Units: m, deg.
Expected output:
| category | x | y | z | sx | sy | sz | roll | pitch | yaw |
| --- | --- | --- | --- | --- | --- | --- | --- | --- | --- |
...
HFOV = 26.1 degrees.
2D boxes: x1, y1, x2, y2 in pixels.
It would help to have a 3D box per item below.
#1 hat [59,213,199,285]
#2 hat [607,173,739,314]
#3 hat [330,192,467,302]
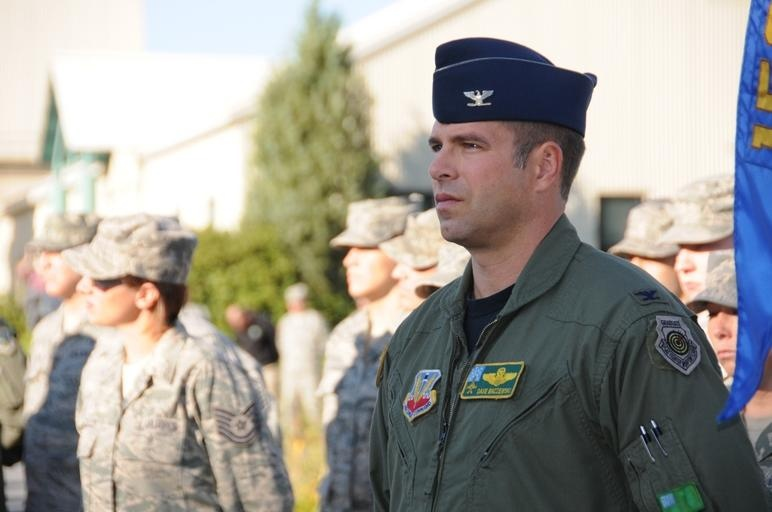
| category | x | y | z | sx | sy | sz | roll | pitch | yaw |
| --- | --- | --- | --- | --- | --- | --- | --- | --- | --- |
| hat | -2.302 | -0.083 | 15.356 | 0.871 | 0.493 | 0.673 | 4 | 1 | 1 |
| hat | 2.879 | -0.177 | 16.374 | 0.895 | 0.455 | 1.347 | 5 | 24 | 40 |
| hat | 0.210 | -0.173 | 17.044 | 0.867 | 0.414 | 1.305 | 23 | 23 | 33 |
